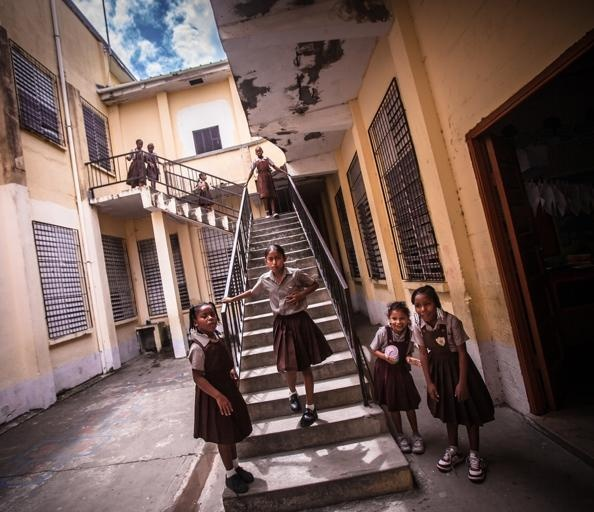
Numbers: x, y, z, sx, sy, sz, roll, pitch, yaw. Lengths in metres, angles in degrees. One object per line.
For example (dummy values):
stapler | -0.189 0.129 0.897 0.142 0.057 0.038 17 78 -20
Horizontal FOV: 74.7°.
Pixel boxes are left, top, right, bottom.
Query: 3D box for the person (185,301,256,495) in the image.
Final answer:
person | -0.687 1.223 3.427 0.500 1.581 0.425 -9 3 -16

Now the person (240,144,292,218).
person | -0.709 -1.773 8.999 0.826 1.477 1.511 -9 3 -5

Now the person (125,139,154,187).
person | -3.988 -2.353 9.767 0.645 1.292 0.862 -10 3 -19

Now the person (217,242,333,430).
person | -0.231 0.927 4.376 1.457 2.390 0.823 -7 -5 9

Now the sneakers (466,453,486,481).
sneakers | 1.522 1.767 3.317 0.145 0.151 0.225 -8 4 24

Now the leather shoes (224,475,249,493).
leather shoes | -0.502 1.960 3.355 0.089 0.094 0.219 1 -11 -35

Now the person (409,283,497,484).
person | 1.336 1.054 3.344 0.569 1.135 0.286 -8 3 18

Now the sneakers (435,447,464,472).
sneakers | 1.363 1.813 3.500 0.316 0.166 0.116 0 -18 -42

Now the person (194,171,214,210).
person | -2.520 -1.751 10.508 0.405 0.970 1.090 -9 3 -12

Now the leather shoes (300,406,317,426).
leather shoes | 0.114 1.557 3.816 0.189 0.150 0.136 -10 3 -5
